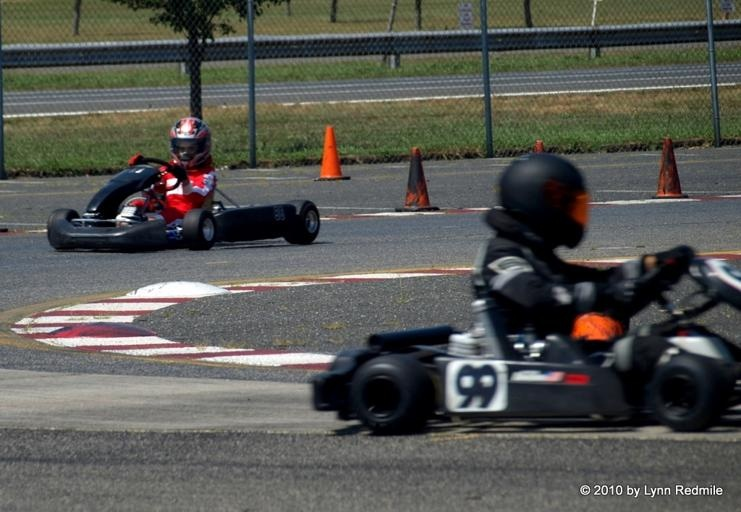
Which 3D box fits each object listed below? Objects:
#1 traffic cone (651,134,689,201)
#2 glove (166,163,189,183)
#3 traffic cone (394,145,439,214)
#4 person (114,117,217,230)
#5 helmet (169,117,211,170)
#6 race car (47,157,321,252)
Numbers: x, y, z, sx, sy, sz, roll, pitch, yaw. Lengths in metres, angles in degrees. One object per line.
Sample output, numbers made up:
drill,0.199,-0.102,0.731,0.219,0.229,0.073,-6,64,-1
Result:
traffic cone,3.420,-1.037,20.678,0.466,0.706,0.442,-1,6,-29
glove,-2.011,-0.875,18.484,0.217,0.198,0.218,1,11,14
traffic cone,0.538,-0.912,20.593,0.726,0.884,0.681,0,18,6
person,-2.161,-0.847,18.613,1.181,1.145,0.860,1,9,-41
helmet,-1.901,-1.216,18.727,0.360,0.555,0.332,-7,16,-15
race car,-2.127,-0.614,19.127,2.117,0.928,2.697,5,9,34
